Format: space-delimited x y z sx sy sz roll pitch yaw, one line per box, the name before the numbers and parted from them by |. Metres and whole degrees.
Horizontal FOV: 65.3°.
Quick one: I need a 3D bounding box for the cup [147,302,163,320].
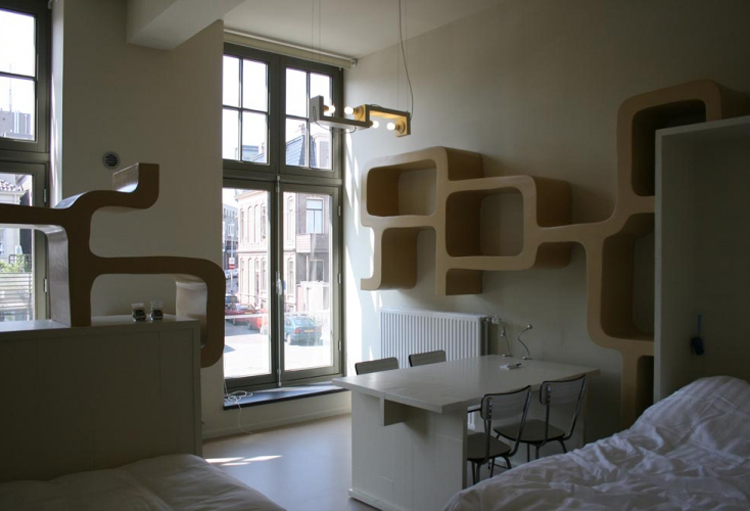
cup | -1.338 0.333 3.577 0.075 0.109 0.242 0 0 -20
